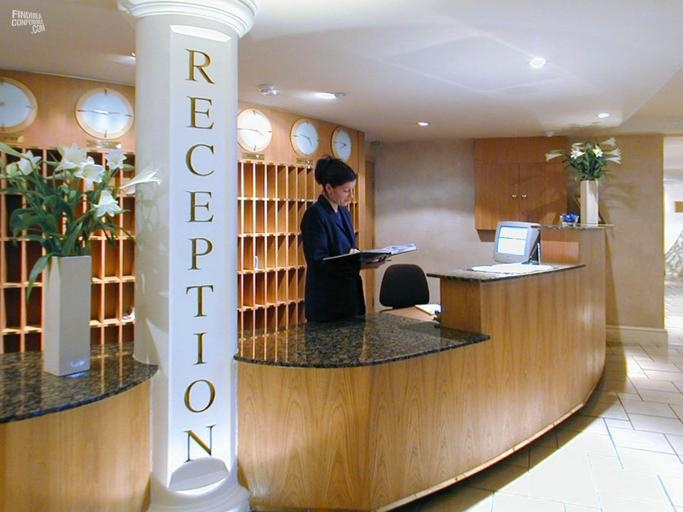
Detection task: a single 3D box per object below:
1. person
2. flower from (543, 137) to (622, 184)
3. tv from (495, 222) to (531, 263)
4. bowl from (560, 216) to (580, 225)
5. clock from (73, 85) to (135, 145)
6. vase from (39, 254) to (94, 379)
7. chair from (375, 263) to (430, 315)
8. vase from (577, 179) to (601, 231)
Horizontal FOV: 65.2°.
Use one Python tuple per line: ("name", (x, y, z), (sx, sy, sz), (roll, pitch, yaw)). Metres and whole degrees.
("person", (-0.007, -0.113, 3.695), (0.509, 1.123, 0.570), (3, 10, 19))
("flower", (2.691, -1.063, 6.056), (0.783, 0.426, 0.780), (0, 2, -22))
("tv", (1.598, -0.112, 4.946), (0.202, 0.356, 0.372), (1, -1, -17))
("bowl", (2.296, -0.358, 5.350), (0.179, 0.125, 0.182), (0, -1, 0))
("clock", (-2.035, -1.211, 4.581), (0.463, 0.454, 0.115), (-4, 10, -22))
("vase", (-1.421, 0.303, 2.727), (0.252, 0.604, 0.141), (1, 10, 7))
("chair", (0.538, 0.275, 4.788), (0.377, 0.445, 0.399), (-1, -2, -4))
("vase", (2.748, -0.594, 5.833), (0.238, 0.463, 0.231), (0, 10, 1))
